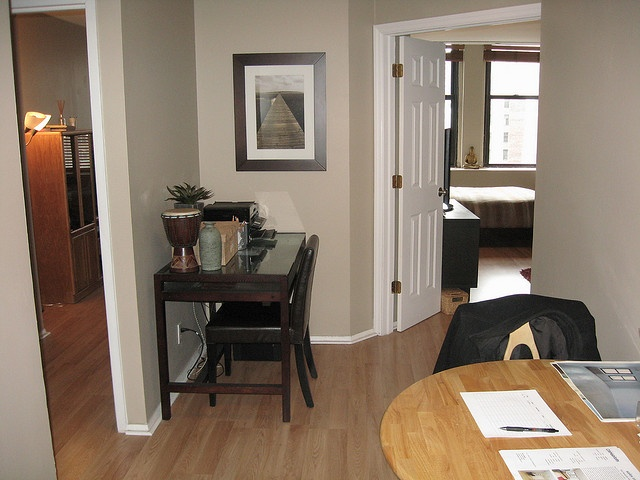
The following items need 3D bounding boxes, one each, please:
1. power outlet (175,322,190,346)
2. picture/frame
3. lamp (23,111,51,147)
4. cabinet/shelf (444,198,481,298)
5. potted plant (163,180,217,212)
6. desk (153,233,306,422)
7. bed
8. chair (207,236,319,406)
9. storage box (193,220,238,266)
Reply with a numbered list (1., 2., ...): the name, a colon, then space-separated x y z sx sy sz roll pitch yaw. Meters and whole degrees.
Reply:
1. power outlet: -0.922 0.624 3.499 0.094 0.158 0.150 0 13 -5
2. picture/frame: -0.293 -1.017 3.865 0.796 1.059 0.036 1 14 6
3. lamp: -2.631 -1.040 4.756 0.210 0.303 0.258 -9 16 -30
4. cabinet/shelf: 1.417 0.114 5.121 0.285 0.629 0.949 -1 15 0
5. potted plant: -0.821 -0.275 3.246 0.212 0.162 0.223 3 13 10
6. desk: -0.546 0.548 3.371 0.844 0.942 0.838 0 14 2
7. bed: 2.472 -0.477 7.156 0.887 0.240 0.949 0 16 4
8. chair: -0.346 0.447 3.730 0.914 1.510 0.861 2 6 1
9. storage box: -0.642 -0.062 3.174 0.206 0.205 0.399 0 14 -1
